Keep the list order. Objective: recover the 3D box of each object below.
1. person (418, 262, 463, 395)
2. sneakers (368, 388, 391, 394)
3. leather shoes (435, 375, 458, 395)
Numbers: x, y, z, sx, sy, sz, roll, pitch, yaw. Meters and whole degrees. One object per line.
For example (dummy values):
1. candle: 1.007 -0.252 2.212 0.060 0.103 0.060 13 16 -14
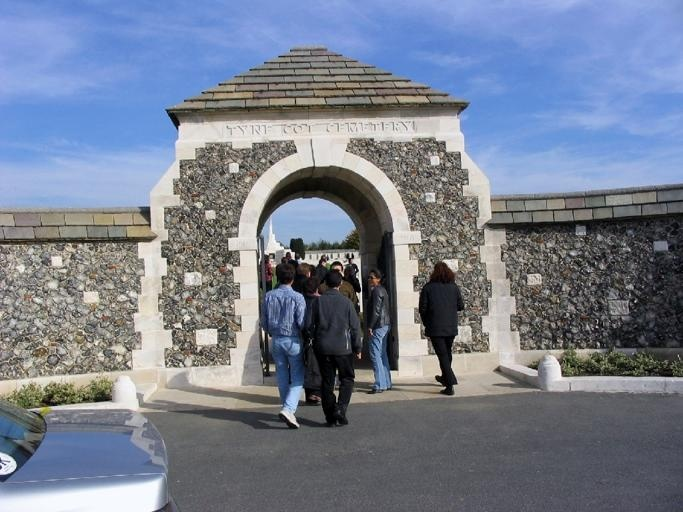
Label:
1. person: 1.754 1.250 10.982 0.628 2.274 0.573 0 3 35
2. sneakers: 0.672 2.381 11.153 0.377 0.161 0.130 4 -4 -13
3. leather shoes: 1.816 2.220 10.997 0.175 0.229 0.492 -8 16 -5
